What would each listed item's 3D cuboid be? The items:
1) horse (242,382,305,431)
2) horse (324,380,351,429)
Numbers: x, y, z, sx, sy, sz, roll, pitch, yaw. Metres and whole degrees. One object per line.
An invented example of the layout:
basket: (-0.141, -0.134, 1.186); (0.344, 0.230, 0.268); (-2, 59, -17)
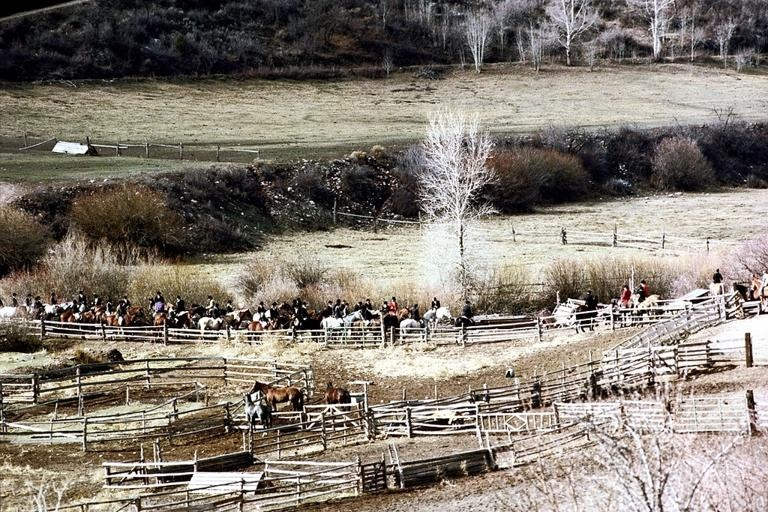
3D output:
horse: (-8.795, 10.664, 117.350); (6.310, 4.870, 1.847); (0, -4, 0)
horse: (-3.624, 10.621, 118.345); (0.919, 2.450, 3.361); (-3, 4, -43)
